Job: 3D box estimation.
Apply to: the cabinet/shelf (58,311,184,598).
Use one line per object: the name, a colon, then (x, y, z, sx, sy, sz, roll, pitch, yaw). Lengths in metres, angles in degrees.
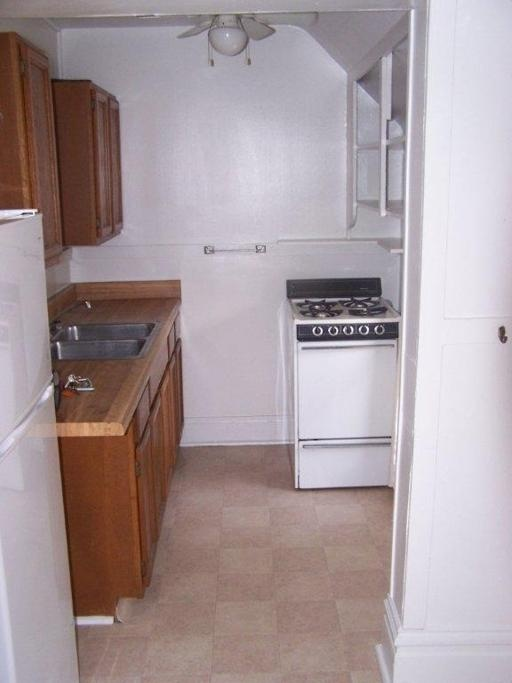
cabinet/shelf: (-0.499, 0.423, 2.061, 0.258, 0.567, 0.872, -2, 24, -5)

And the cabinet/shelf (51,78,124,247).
cabinet/shelf: (-0.837, -0.875, 2.756, 0.273, 0.767, 0.784, -1, 30, -3)

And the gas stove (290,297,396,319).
gas stove: (0.482, -0.190, 3.123, 0.538, 0.054, 0.536, -1, 10, -1)
